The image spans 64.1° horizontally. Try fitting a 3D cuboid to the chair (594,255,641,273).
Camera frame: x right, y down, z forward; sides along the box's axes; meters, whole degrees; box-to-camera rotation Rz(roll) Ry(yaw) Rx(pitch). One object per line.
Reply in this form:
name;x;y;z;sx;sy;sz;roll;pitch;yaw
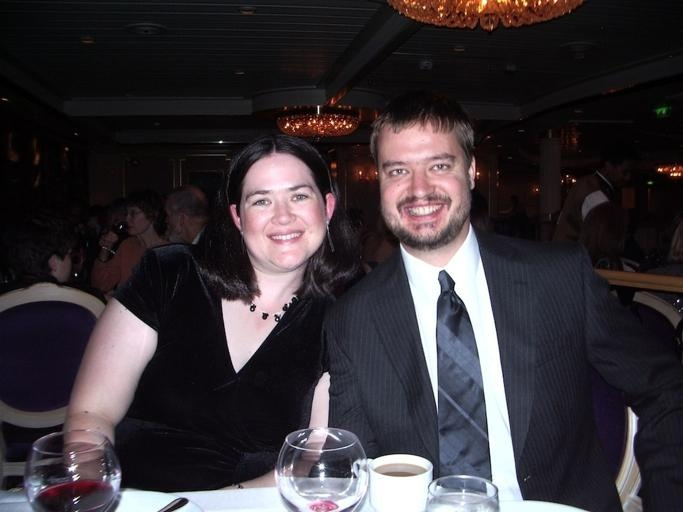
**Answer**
chair;2.370;0.068;4.707;0.270;0.151;0.192;5;1;-8
